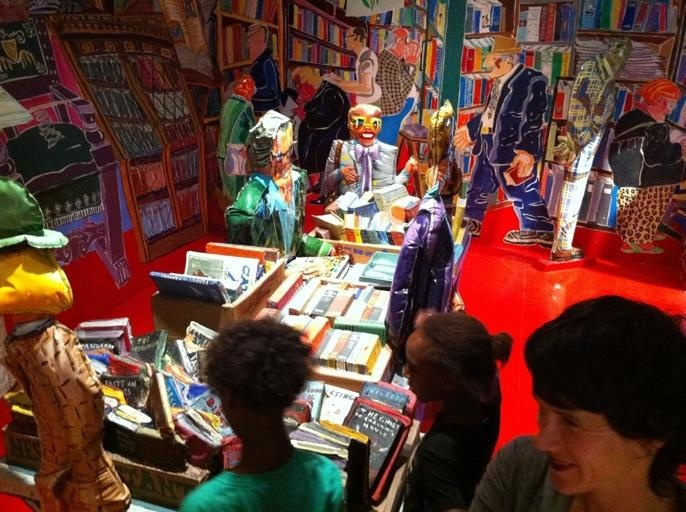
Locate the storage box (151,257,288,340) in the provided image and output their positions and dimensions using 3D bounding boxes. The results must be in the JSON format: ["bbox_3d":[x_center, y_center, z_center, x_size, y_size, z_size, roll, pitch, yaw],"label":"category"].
[{"bbox_3d":[-0.899,0.125,3.150,0.482,0.333,0.751,13,28,22],"label":"storage box"}]
